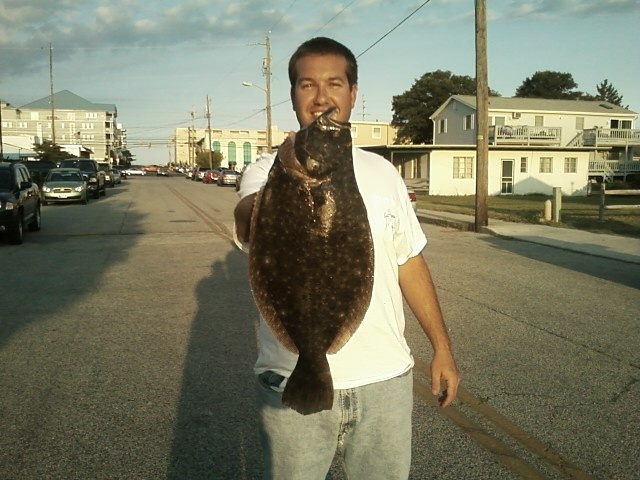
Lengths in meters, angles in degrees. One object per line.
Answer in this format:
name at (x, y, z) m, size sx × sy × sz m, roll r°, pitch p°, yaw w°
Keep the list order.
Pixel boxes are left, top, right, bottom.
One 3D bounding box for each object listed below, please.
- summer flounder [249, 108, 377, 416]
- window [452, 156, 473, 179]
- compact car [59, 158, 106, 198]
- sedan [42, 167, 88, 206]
summer flounder at (-0.032, 0.093, 2.240) m, size 0.470 × 1.202 × 0.148 m, roll 2°, pitch 9°, yaw 11°
window at (8.975, -4.534, 34.817) m, size 1.351 × 1.307 × 0.317 m, roll -2°, pitch 3°, yaw -24°
compact car at (-12.250, -3.307, 29.429) m, size 1.882 × 1.772 × 3.946 m, roll 0°, pitch 5°, yaw -9°
sedan at (-10.941, -2.270, 24.043) m, size 1.807 × 1.513 × 2.060 m, roll -4°, pitch 10°, yaw -24°
